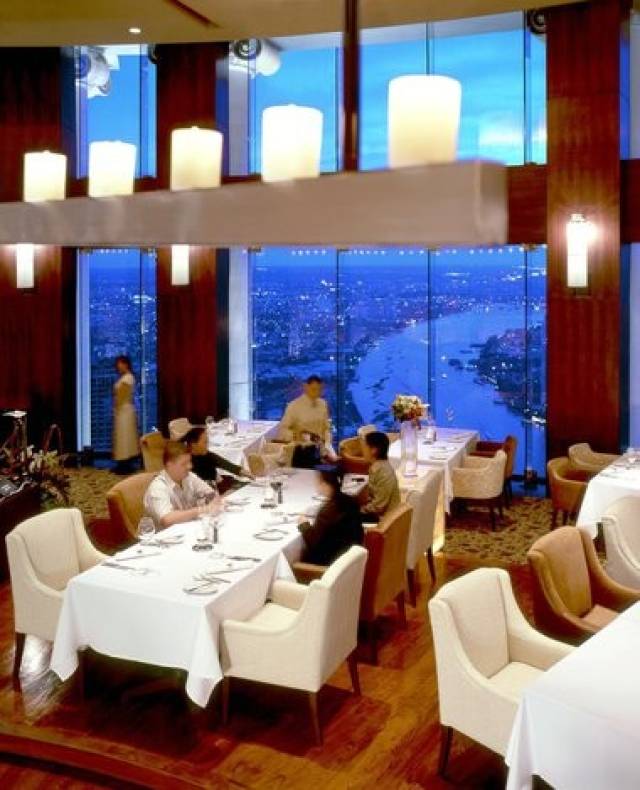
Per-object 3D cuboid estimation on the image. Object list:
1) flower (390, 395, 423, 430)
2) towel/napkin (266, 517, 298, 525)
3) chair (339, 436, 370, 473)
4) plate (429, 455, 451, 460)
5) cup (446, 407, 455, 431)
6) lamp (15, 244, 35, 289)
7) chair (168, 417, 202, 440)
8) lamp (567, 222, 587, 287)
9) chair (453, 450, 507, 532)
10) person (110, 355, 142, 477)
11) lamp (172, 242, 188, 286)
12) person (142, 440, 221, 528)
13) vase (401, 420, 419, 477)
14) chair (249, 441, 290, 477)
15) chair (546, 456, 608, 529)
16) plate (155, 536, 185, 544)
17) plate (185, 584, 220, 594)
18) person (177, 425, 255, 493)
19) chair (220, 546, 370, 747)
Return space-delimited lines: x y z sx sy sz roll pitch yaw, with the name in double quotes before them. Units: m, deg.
"flower" 0.928 0.180 6.672 0.279 0.379 0.326 -1 6 -3
"towel/napkin" -0.260 0.891 4.425 0.146 0.038 0.086 -1 12 -16
"chair" 0.386 0.705 7.277 0.306 0.403 0.288 1 15 18
"plate" 1.253 0.672 6.726 0.174 0.015 0.143 1 7 4
"cup" 1.882 0.359 9.055 0.182 0.300 0.099 2 3 2
"lamp" -4.113 -1.768 8.849 0.255 0.583 0.393 -3 7 -27
"chair" -1.621 0.413 7.584 0.212 0.298 0.212 5 14 13
"lamp" 2.881 -1.599 7.094 0.246 0.794 0.225 3 6 25
"chair" 1.715 1.001 7.131 0.686 0.986 0.782 1 5 13
"person" -2.785 0.293 9.066 0.369 1.686 0.286 -2 6 -20
"lamp" -1.911 -1.776 8.703 0.246 0.479 0.305 -1 6 -14
"person" -1.030 0.698 4.864 0.449 0.860 0.514 -2 7 18
"vase" 0.930 0.551 6.543 0.174 0.545 0.424 1 6 8
"chair" -0.578 0.687 6.857 0.376 0.539 0.397 2 5 13
"chair" 2.526 1.000 6.183 0.649 0.682 0.641 -11 11 -44
"plate" -0.957 0.947 4.041 0.189 0.023 0.062 -2 1 -33
"plate" -0.619 1.027 3.317 0.180 0.017 0.139 0 7 -7
"person" -0.993 0.656 6.195 0.636 0.922 0.367 -9 18 -8
"chair" -0.128 1.330 3.831 0.819 1.315 0.873 4 8 21
